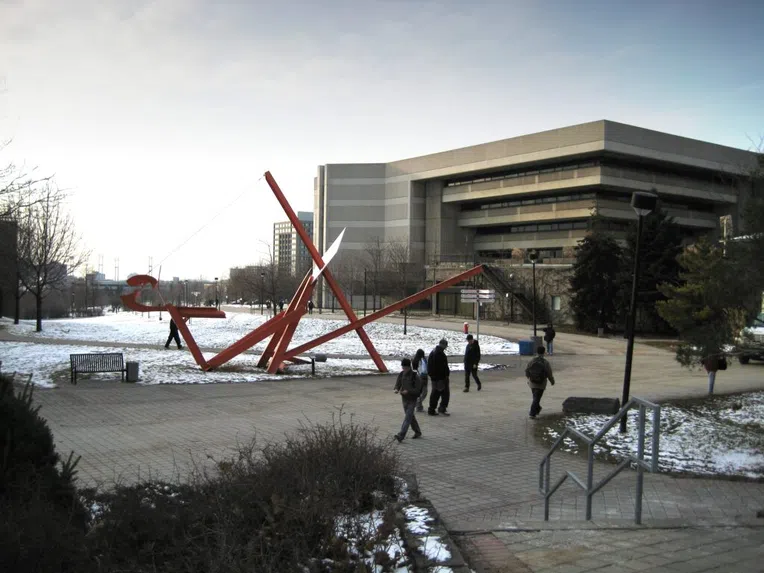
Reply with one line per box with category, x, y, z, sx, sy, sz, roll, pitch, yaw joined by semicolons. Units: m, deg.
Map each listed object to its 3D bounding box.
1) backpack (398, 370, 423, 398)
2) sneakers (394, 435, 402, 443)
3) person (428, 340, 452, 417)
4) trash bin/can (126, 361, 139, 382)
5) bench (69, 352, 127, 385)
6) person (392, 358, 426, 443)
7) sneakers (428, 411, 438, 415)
backpack;0.572;2.070;14.614;0.511;0.575;0.483;-1;1;5
sneakers;0.315;3.100;14.062;0.128;0.167;0.371;0;-10;1
person;1.412;2.324;17.884;0.484;1.355;1.586;0;-1;5
trash bin/can;-7.731;2.766;22.176;0.375;0.614;0.677;0;-1;-20
bench;-9.013;2.624;22.553;1.141;0.923;1.780;0;-1;43
person;0.533;2.384;14.539;0.530;1.247;1.253;0;0;3
sneakers;1.248;3.167;17.289;0.158;0.088;0.366;0;-1;29
